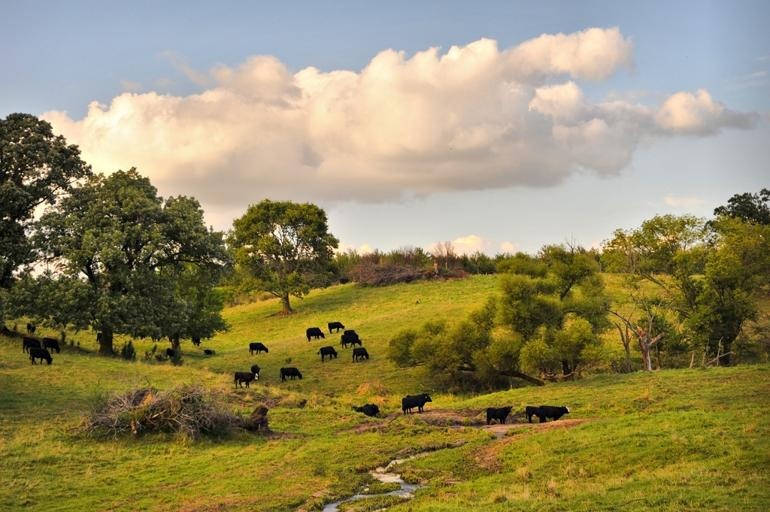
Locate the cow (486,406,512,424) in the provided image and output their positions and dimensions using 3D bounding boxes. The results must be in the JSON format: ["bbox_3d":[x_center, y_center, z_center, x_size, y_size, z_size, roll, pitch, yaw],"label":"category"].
[{"bbox_3d":[8.679,12.138,70.427,1.862,1.257,1.280,-4,-6,4],"label":"cow"}]

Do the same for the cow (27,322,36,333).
[{"bbox_3d":[-33.842,6.914,88.462,0.650,1.088,2.009,1,-15,-18],"label":"cow"}]

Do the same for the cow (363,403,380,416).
[{"bbox_3d":[-1.090,12.600,75.377,1.036,0.988,1.975,-7,-8,28],"label":"cow"}]
